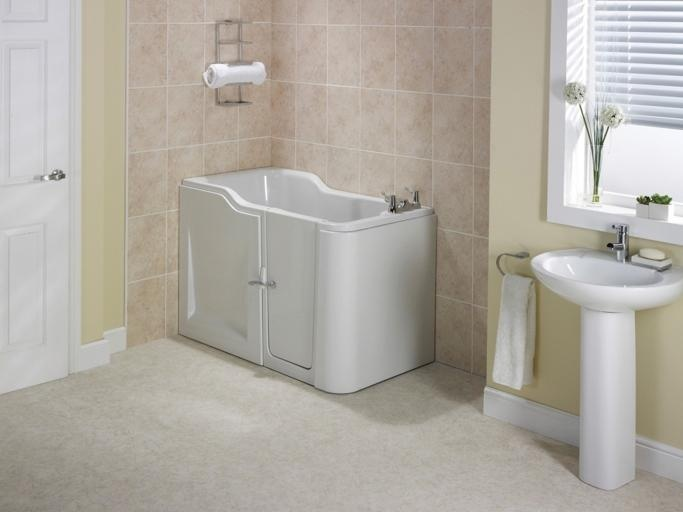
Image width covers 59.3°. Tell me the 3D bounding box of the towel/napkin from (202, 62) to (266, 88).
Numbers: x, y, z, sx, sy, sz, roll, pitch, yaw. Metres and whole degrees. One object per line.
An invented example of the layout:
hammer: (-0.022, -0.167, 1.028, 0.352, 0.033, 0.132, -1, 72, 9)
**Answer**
towel/napkin: (-0.718, -1.228, 4.049, 0.423, 0.165, 0.136, -13, 20, -38)

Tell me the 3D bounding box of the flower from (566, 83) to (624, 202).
flower: (1.176, -0.537, 2.843, 0.272, 0.555, 0.243, 5, 15, 19)

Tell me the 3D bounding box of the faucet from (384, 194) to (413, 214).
faucet: (0.350, -0.322, 3.638, 0.102, 0.119, 0.176, 6, 11, 43)

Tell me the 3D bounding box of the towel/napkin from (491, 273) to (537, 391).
towel/napkin: (0.878, 0.374, 2.996, 0.182, 0.542, 0.152, 10, 17, 33)

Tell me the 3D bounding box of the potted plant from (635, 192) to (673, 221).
potted plant: (1.378, -0.218, 2.649, 0.152, 0.103, 0.093, 11, 18, 34)
